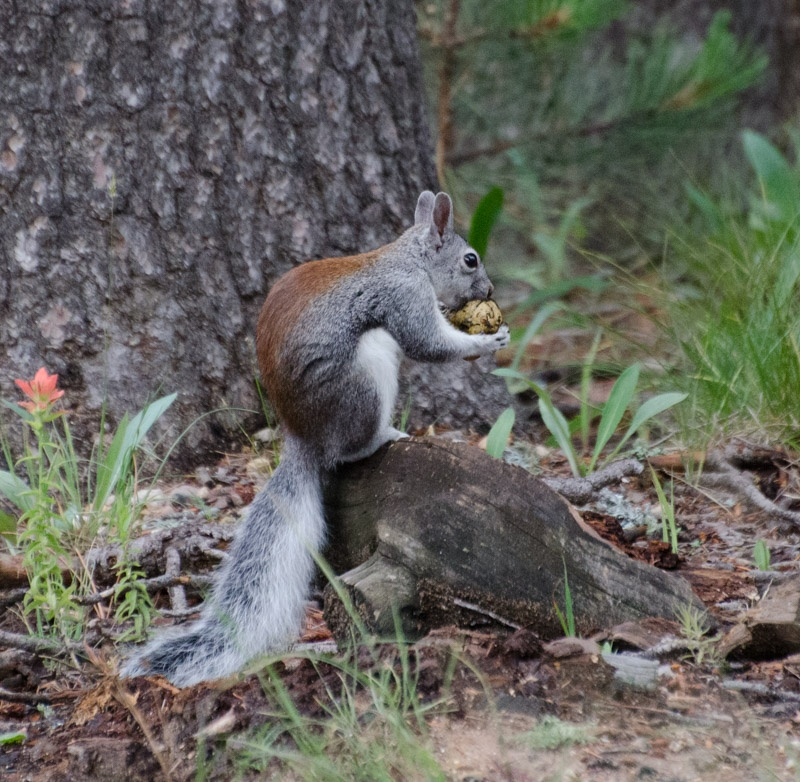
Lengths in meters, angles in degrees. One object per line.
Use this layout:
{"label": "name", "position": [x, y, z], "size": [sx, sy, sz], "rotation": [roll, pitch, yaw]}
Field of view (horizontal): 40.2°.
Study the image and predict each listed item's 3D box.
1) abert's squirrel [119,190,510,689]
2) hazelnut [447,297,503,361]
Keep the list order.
{"label": "abert's squirrel", "position": [-0.316, 0.226, 4.263], "size": [1.740, 1.560, 0.511], "rotation": [-20, 17, -24]}
{"label": "hazelnut", "position": [0.313, -0.273, 4.666], "size": [0.239, 0.206, 0.195], "rotation": [-3, -7, 9]}
